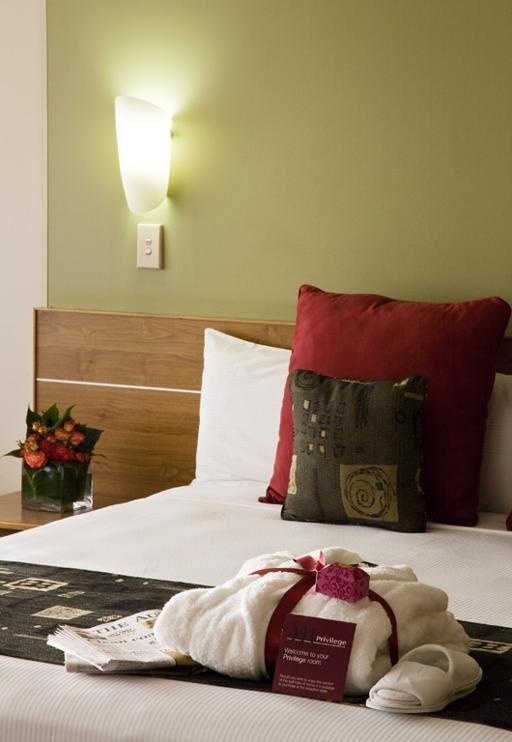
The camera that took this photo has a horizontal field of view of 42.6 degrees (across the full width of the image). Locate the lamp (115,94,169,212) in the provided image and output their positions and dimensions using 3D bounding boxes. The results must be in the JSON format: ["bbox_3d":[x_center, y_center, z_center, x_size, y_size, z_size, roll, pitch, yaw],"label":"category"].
[{"bbox_3d":[-0.360,-0.680,2.074,0.168,0.327,0.112,1,-2,-11],"label":"lamp"}]

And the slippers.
[{"bbox_3d":[0.146,0.261,0.589,0.049,0.031,0.108,5,8,37],"label":"slippers"}]

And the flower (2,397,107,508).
[{"bbox_3d":[-0.586,0.242,2.028,0.312,0.269,0.305,1,-1,-39],"label":"flower"}]

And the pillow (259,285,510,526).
[{"bbox_3d":[0.356,0.073,1.532,0.618,0.531,0.185,3,-9,34],"label":"pillow"}]

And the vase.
[{"bbox_3d":[-0.590,0.328,1.972,0.165,0.147,0.165,1,1,35],"label":"vase"}]

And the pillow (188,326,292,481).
[{"bbox_3d":[-0.052,0.123,1.865,0.399,0.337,0.110,15,4,43],"label":"pillow"}]
